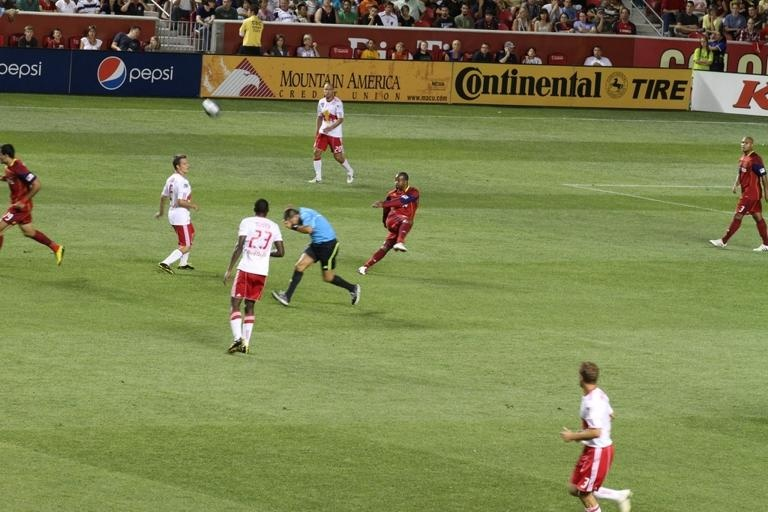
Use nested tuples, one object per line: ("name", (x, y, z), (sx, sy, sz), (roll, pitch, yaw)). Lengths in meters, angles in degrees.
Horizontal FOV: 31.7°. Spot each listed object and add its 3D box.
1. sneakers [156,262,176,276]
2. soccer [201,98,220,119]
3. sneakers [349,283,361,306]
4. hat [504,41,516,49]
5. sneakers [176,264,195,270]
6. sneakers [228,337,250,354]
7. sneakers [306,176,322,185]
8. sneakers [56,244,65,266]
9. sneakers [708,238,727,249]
("sneakers", (-4.498, 0.227, 27.955), (0.183, 0.139, 0.409), (-17, -23, 17))
("soccer", (-5.317, -4.578, 41.597), (0.519, 0.468, 0.615), (2, 8, -7))
("sneakers", (-0.571, 0.734, 26.859), (0.223, 0.397, 0.156), (-4, 24, -3))
("hat", (4.298, -7.360, 46.500), (0.435, 0.153, 0.496), (0, 1, 1))
("sneakers", (-4.173, 0.190, 28.389), (0.403, 0.144, 0.126), (-2, 13, -12))
("sneakers", (-2.656, 1.608, 24.526), (0.200, 0.181, 0.437), (17, -17, -34))
("sneakers", (-1.820, -2.012, 35.378), (0.390, 0.145, 0.127), (3, 9, 25))
("sneakers", (-6.733, -0.050, 27.993), (0.215, 0.411, 0.163), (11, -16, -22))
("sneakers", (7.718, -0.340, 31.183), (0.426, 0.174, 0.154), (19, 22, 19))
